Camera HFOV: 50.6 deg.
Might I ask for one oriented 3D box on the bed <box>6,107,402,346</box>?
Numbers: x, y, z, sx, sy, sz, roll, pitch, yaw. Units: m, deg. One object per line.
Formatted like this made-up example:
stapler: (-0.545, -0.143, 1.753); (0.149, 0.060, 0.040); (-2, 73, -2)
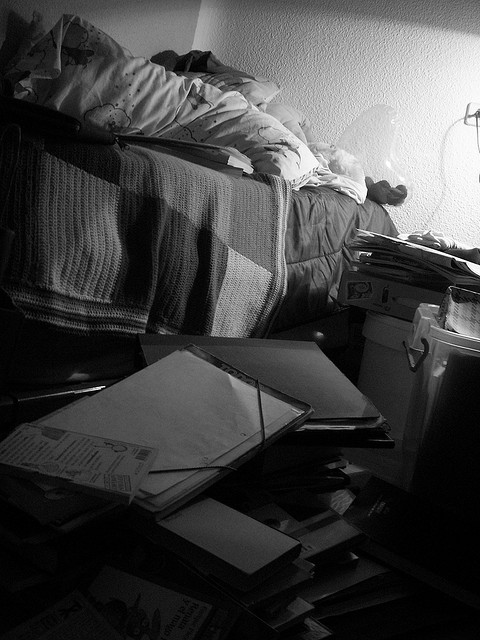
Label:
bed: (-0.131, -0.153, 0.955); (0.642, 0.350, 0.256); (0, 14, -42)

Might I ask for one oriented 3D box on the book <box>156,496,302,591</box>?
book: (-0.007, 0.133, 0.310); (0.076, 0.016, 0.050); (17, 13, 34)
